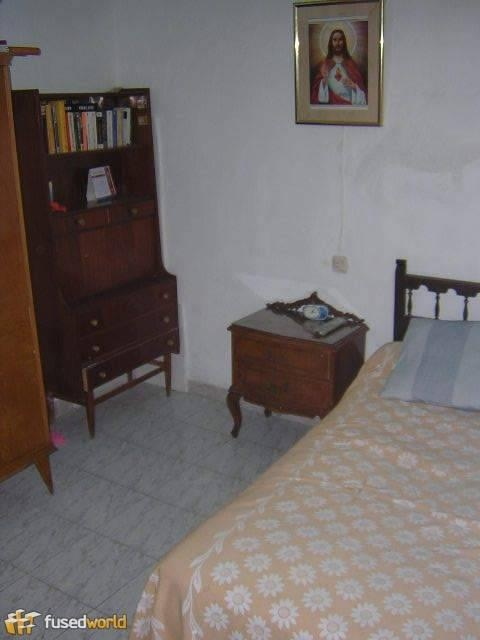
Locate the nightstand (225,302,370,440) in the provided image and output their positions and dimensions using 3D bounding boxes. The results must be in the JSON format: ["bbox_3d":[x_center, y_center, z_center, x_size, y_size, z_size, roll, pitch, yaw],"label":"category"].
[{"bbox_3d":[0.324,0.354,2.927,0.690,0.856,0.503,12,18,35],"label":"nightstand"}]

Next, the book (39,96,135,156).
[{"bbox_3d":[-0.909,-1.184,2.982,0.157,0.364,0.724,2,11,22],"label":"book"}]
